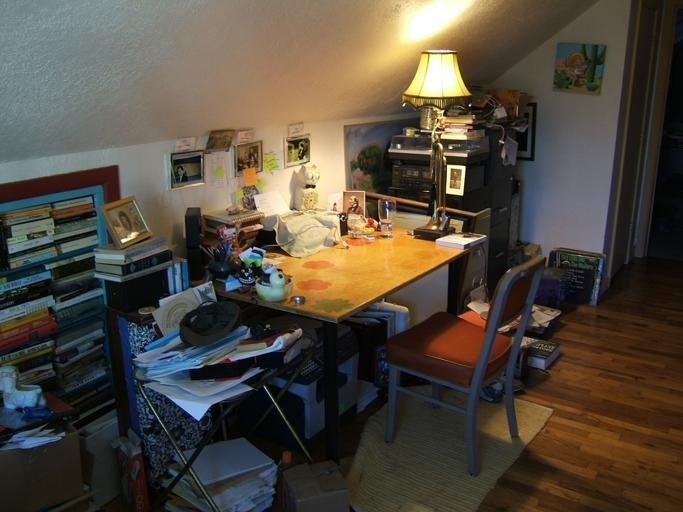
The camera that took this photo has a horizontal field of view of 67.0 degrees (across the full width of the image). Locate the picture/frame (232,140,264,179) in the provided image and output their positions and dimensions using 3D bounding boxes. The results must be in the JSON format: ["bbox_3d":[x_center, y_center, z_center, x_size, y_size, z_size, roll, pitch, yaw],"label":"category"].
[{"bbox_3d":[-0.536,-0.550,2.884,0.021,0.178,0.214,8,13,30],"label":"picture/frame"}]

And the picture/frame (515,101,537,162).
[{"bbox_3d":[1.638,-1.085,4.498,0.156,0.504,0.134,-3,15,3],"label":"picture/frame"}]

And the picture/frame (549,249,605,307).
[{"bbox_3d":[1.956,0.199,4.260,0.407,0.397,0.219,8,13,30],"label":"picture/frame"}]

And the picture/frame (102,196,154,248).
[{"bbox_3d":[-0.950,-0.146,2.258,0.021,0.187,0.205,-15,15,25],"label":"picture/frame"}]

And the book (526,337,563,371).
[{"bbox_3d":[1.338,0.634,3.400,0.185,0.046,0.195,12,24,41],"label":"book"}]

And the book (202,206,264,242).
[{"bbox_3d":[-0.569,-0.163,2.738,0.342,0.182,0.227,-9,16,-21],"label":"book"}]

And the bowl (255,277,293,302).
[{"bbox_3d":[-0.307,0.155,2.330,0.164,0.087,0.115,-5,15,-9],"label":"bowl"}]

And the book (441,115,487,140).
[{"bbox_3d":[0.828,-0.877,3.522,0.262,0.093,0.275,2,21,7],"label":"book"}]

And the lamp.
[{"bbox_3d":[0.597,-0.673,3.099,0.353,1.097,0.374,6,17,33],"label":"lamp"}]

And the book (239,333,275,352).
[{"bbox_3d":[-0.337,0.330,2.013,0.060,0.032,0.106,8,11,41],"label":"book"}]

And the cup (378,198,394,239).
[{"bbox_3d":[0.270,-0.230,3.159,0.073,0.221,0.092,-2,15,5],"label":"cup"}]

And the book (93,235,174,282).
[{"bbox_3d":[-0.945,-0.014,2.214,0.217,0.081,0.216,5,20,31],"label":"book"}]

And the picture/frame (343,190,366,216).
[{"bbox_3d":[0.078,-0.336,3.299,0.164,0.200,0.027,1,-8,12],"label":"picture/frame"}]

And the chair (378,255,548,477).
[{"bbox_3d":[0.597,0.497,2.593,0.669,1.034,0.519,8,18,37],"label":"chair"}]
